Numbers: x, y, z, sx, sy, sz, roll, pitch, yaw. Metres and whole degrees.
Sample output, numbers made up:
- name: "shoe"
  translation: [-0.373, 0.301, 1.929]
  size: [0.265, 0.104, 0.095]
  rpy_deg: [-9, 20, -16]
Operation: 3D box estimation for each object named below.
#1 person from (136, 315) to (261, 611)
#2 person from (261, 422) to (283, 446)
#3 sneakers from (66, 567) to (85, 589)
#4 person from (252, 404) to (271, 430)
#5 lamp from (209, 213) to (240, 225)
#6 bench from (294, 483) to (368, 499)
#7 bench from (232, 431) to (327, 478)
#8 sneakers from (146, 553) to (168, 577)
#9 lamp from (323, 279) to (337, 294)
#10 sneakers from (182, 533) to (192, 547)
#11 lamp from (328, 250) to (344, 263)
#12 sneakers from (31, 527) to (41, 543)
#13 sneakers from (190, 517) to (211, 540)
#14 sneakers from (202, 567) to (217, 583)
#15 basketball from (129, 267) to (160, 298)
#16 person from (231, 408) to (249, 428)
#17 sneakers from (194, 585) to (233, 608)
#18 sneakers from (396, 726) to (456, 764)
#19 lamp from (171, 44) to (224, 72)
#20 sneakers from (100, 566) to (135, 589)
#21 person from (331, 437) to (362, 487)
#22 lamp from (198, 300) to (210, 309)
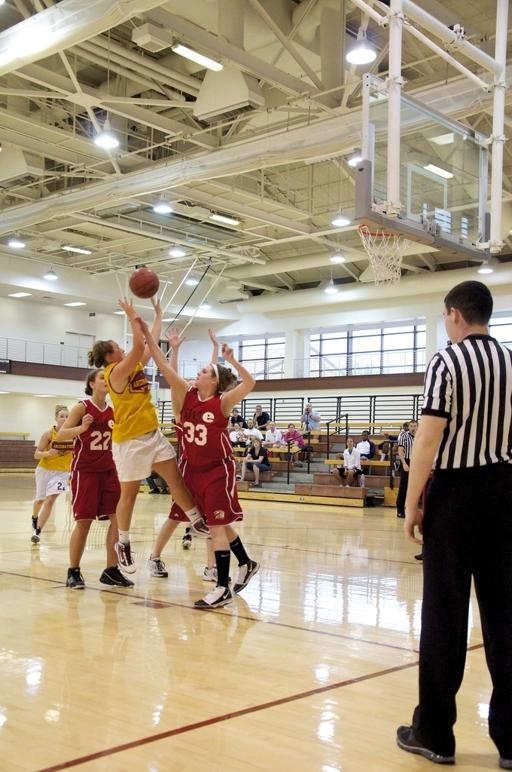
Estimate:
- name: "person"
  translation: [-0.345, 0.478, 3.767]
  size: [0.669, 1.763, 0.454]
  rpy_deg: [0, 2, 24]
- name: "person"
  translation: [0.470, 1.411, 16.152]
  size: [0.515, 0.694, 0.595]
  rpy_deg: [-4, -12, 13]
- name: "sneakers"
  translation: [-1.265, 1.341, 4.137]
  size: [0.082, 0.095, 0.221]
  rpy_deg: [4, -12, -25]
- name: "person"
  translation: [0.136, 0.988, 18.152]
  size: [0.508, 0.722, 0.459]
  rpy_deg: [-11, -18, 23]
- name: "lamp"
  translation: [-0.912, -4.948, 17.783]
  size: [0.112, 0.157, 0.681]
  rpy_deg: [-22, -21, 32]
- name: "bench"
  translation: [1.513, 2.190, 12.339]
  size: [1.688, 0.308, 0.286]
  rpy_deg: [0, 2, 40]
- name: "bench"
  translation: [0.573, 1.836, 14.856]
  size: [1.488, 0.622, 1.517]
  rpy_deg: [1, 1, 38]
- name: "sneakers"
  translation: [-0.758, 1.404, 4.630]
  size: [0.088, 0.096, 0.218]
  rpy_deg: [11, -4, -40]
- name: "lamp"
  translation: [2.842, -3.756, 22.562]
  size: [0.594, 0.619, 0.611]
  rpy_deg: [1, -14, -1]
- name: "sneakers"
  translation: [-0.700, 1.631, 6.228]
  size: [0.109, 0.138, 0.313]
  rpy_deg: [2, -17, -5]
- name: "lamp"
  translation: [2.538, -4.024, 18.477]
  size: [0.411, 0.226, 0.400]
  rpy_deg: [1, -10, -2]
- name: "sneakers"
  translation: [-2.422, 1.660, 6.492]
  size: [0.087, 0.103, 0.232]
  rpy_deg: [12, -29, -6]
- name: "sneakers"
  translation: [-0.362, 0.936, 3.875]
  size: [0.203, 0.143, 0.073]
  rpy_deg: [1, -1, 21]
- name: "sneakers"
  translation: [-0.334, 1.402, 4.425]
  size: [0.077, 0.094, 0.219]
  rpy_deg: [2, -5, -23]
- name: "basketball"
  translation: [-0.757, -0.680, 3.981]
  size: [0.177, 0.222, 0.351]
  rpy_deg: [-1, 2, -12]
- name: "person"
  translation: [-0.488, 1.062, 17.353]
  size: [0.271, 0.363, 0.815]
  rpy_deg: [-9, -27, 7]
- name: "sneakers"
  translation: [-0.248, 1.298, 3.678]
  size: [0.255, 0.112, 0.099]
  rpy_deg: [6, -11, -32]
- name: "sneakers"
  translation: [0.457, 0.967, 1.623]
  size: [0.055, 0.060, 0.134]
  rpy_deg: [7, -12, -25]
- name: "lamp"
  translation: [-0.855, -4.724, 8.546]
  size: [0.716, 0.251, 0.344]
  rpy_deg: [-2, 2, -44]
- name: "sneakers"
  translation: [-1.001, 1.366, 4.291]
  size: [0.301, 0.151, 0.100]
  rpy_deg: [10, -2, 6]
- name: "person"
  translation: [1.930, 1.613, 12.475]
  size: [0.526, 1.023, 0.730]
  rpy_deg: [0, 2, 29]
- name: "lamp"
  translation: [-2.148, -3.319, 24.881]
  size: [0.470, 0.228, 0.457]
  rpy_deg: [1, 4, -2]
